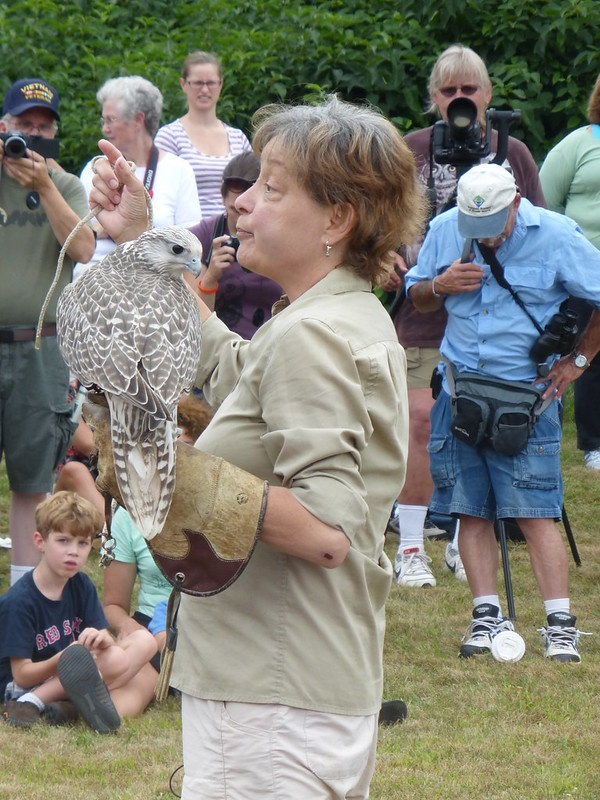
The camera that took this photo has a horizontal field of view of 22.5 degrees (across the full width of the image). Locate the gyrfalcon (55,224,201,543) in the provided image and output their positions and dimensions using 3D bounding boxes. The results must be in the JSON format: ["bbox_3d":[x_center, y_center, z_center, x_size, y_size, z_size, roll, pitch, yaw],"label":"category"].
[{"bbox_3d":[-0.450,-0.053,3.821,0.353,0.380,0.879,8,35,-20],"label":"gyrfalcon"}]

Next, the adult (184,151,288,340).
[{"bbox_3d":[-0.283,-0.643,6.470,0.607,0.830,0.323,-5,8,-12],"label":"adult"}]

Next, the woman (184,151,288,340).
[{"bbox_3d":[-0.277,-0.633,6.470,0.607,0.830,0.323,-5,8,-12],"label":"woman"}]

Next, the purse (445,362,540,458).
[{"bbox_3d":[0.793,0.046,6.146,0.401,0.156,0.355,7,19,15],"label":"purse"}]

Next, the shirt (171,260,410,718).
[{"bbox_3d":[-0.023,0.220,3.648,0.531,1.054,0.463,2,13,12],"label":"shirt"}]

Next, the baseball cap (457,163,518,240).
[{"bbox_3d":[0.743,-0.771,6.002,0.236,0.295,0.133,2,-31,15],"label":"baseball cap"}]

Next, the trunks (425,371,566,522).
[{"bbox_3d":[0.876,0.197,6.364,0.689,0.600,0.384,15,17,33],"label":"trunks"}]

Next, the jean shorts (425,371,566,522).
[{"bbox_3d":[0.895,0.185,6.371,0.685,0.592,0.394,16,20,30],"label":"jean shorts"}]

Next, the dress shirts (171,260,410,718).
[{"bbox_3d":[-0.023,0.220,3.648,0.531,1.054,0.463,2,13,12],"label":"dress shirts"}]

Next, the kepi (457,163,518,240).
[{"bbox_3d":[0.739,-0.790,5.995,0.232,0.286,0.183,3,13,17],"label":"kepi"}]

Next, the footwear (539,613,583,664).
[{"bbox_3d":[1.077,0.992,6.199,0.185,0.153,0.375,1,-6,5],"label":"footwear"}]
